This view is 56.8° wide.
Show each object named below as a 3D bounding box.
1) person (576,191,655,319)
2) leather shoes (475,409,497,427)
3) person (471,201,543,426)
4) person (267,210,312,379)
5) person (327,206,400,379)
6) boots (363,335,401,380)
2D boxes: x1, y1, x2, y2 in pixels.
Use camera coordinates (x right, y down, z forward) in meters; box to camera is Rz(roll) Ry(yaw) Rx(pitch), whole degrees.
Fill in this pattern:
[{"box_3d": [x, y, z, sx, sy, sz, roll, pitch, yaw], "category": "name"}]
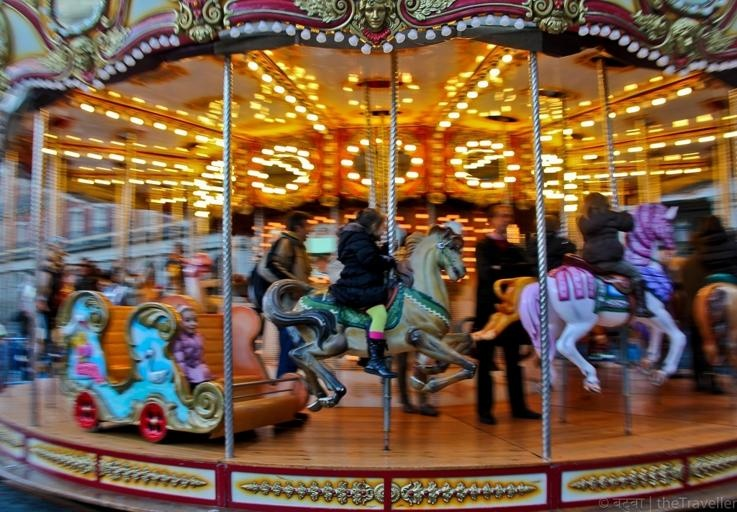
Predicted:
[{"box_3d": [2.469, -0.015, 6.832, 0.687, 1.243, 0.302, 0, 0, 13], "category": "person"}, {"box_3d": [1.249, 1.678, 7.202, 0.191, 0.157, 0.247, 0, 0, 9], "category": "leather shoes"}, {"box_3d": [1.427, 0.602, 7.394, 0.800, 2.339, 0.618, 0, 0, -16], "category": "person"}, {"box_3d": [-0.905, 0.414, 7.509, 0.404, 1.815, 0.753, 0, 0, 0], "category": "person"}, {"box_3d": [0.027, 0.324, 6.402, 0.439, 1.548, 0.652, -1, 0, -43], "category": "person"}, {"box_3d": [0.095, 0.933, 6.317, 0.282, 0.375, 0.390, 0, 0, -1], "category": "boots"}]
